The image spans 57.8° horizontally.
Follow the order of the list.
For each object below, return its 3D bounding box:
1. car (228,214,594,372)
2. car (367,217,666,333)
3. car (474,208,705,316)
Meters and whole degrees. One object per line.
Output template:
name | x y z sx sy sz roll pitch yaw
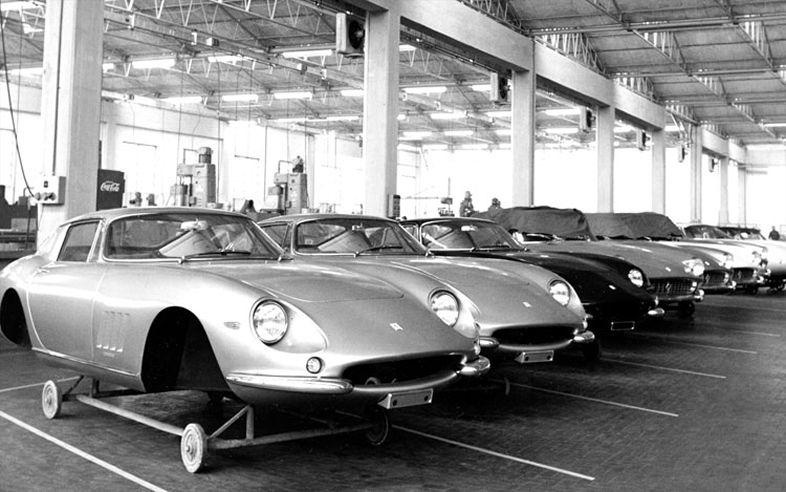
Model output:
car | 0.307 0.183 7.682 3.140 0.938 1.811 6 -1 44
car | 1.737 0.246 8.906 2.800 0.804 1.646 3 1 37
car | 2.776 0.235 11.080 1.612 1.068 3.483 1 7 -37
